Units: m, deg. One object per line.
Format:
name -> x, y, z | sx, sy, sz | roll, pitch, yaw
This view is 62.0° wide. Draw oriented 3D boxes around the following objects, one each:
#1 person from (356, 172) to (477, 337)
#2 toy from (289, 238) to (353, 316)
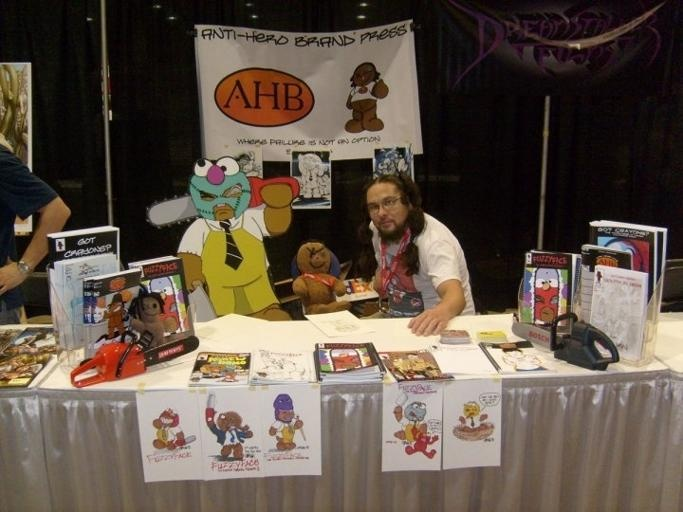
person -> 0.413, -0.023, 3.300 | 0.486, 0.860, 0.649 | -32, 30, -20
toy -> -0.135, 0.133, 3.790 | 0.374, 0.447, 0.552 | -4, 8, -4
